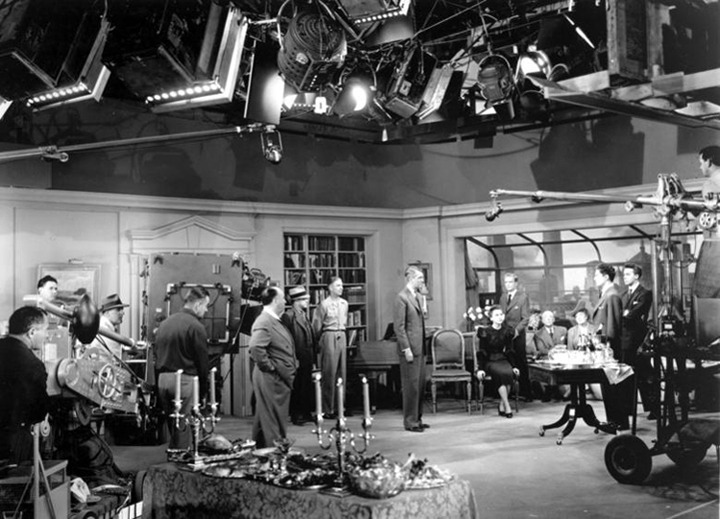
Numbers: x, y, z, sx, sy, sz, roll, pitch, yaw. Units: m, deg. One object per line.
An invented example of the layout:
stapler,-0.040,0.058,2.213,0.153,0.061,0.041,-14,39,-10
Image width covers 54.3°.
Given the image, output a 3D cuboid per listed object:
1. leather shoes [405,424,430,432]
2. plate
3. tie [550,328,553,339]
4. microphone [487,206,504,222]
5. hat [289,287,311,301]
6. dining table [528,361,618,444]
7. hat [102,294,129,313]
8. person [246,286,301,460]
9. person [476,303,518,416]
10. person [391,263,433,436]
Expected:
leather shoes,0.720,2.116,8.864,0.316,0.136,0.107,-15,-18,42
plate,-0.324,1.292,4.618,1.323,0.341,0.383,1,1,25
tie,2.937,1.114,10.759,0.046,0.180,0.046,-4,-29,13
microphone,2.014,-0.721,10.533,0.205,0.253,0.289,0,1,11
hat,-0.882,0.447,9.616,0.220,0.097,0.175,-15,-11,36
dining table,2.345,1.544,7.898,0.933,0.883,0.938,1,-1,-27
hat,-2.833,0.511,8.156,0.270,0.107,0.233,3,-9,-44
person,-0.883,1.074,7.127,0.445,1.583,0.339,0,1,-4
person,1.928,1.397,9.914,0.583,1.466,1.031,1,1,12
person,0.658,1.114,8.874,0.457,2.034,0.376,0,1,0
